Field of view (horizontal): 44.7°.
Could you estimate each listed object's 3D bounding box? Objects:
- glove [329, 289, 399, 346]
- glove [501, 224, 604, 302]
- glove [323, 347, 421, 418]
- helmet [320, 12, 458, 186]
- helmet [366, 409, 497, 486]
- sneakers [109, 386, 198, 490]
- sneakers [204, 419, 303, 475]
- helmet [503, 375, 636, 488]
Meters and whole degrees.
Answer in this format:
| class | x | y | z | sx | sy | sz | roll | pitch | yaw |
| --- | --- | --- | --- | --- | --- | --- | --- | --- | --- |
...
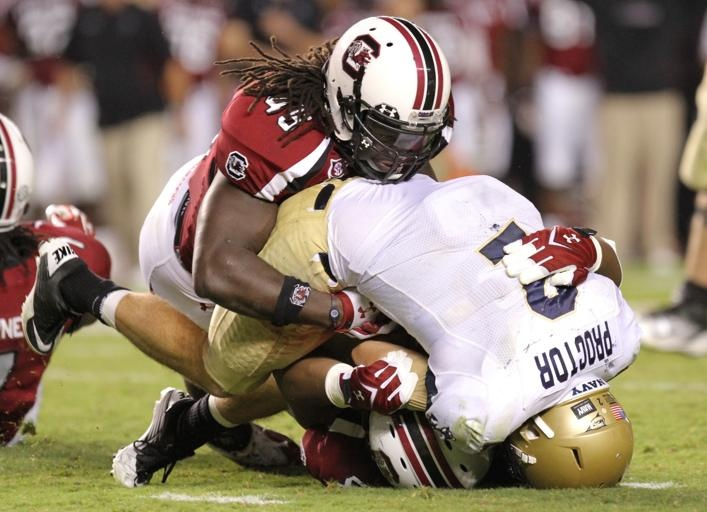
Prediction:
| class | x | y | z | sx | sy | sz | roll | pitch | yaw |
| --- | --- | --- | --- | --- | --- | --- | --- | --- | --- |
| glove | 0.030 | 0.203 | 2.825 | 0.183 | 0.134 | 0.083 | 15 | 23 | -31 |
| glove | 0.659 | 0.013 | 2.748 | 0.417 | 0.209 | 0.164 | -5 | 5 | -37 |
| glove | 0.055 | 0.412 | 2.756 | 0.243 | 0.197 | 0.112 | -6 | -8 | 20 |
| helmet | 0.092 | -0.551 | 3.107 | 0.490 | 0.445 | 0.562 | -3 | 58 | -29 |
| helmet | 0.219 | 0.637 | 2.778 | 0.243 | 0.317 | 0.282 | -37 | 3 | -34 |
| sneakers | -0.711 | 0.669 | 3.145 | 0.197 | 0.174 | 0.413 | -3 | 45 | 25 |
| sneakers | -0.360 | 0.749 | 3.370 | 0.434 | 0.173 | 0.155 | 14 | 39 | -10 |
| helmet | 0.675 | 0.578 | 2.772 | 0.386 | 0.300 | 0.303 | -38 | -13 | 36 |
